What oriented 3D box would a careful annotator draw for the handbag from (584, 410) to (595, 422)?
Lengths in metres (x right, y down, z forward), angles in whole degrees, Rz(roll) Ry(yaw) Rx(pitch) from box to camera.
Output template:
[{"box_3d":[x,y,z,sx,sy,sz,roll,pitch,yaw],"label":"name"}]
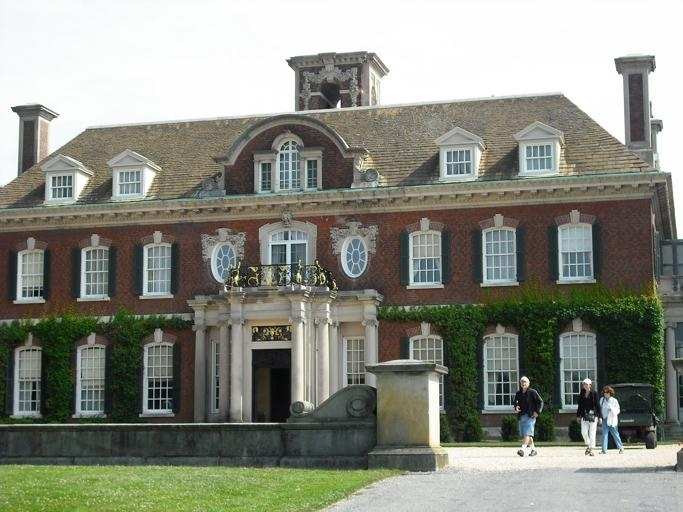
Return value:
[{"box_3d":[7.473,4.696,46.822,0.298,0.351,0.147,-11,-14,41],"label":"handbag"}]
